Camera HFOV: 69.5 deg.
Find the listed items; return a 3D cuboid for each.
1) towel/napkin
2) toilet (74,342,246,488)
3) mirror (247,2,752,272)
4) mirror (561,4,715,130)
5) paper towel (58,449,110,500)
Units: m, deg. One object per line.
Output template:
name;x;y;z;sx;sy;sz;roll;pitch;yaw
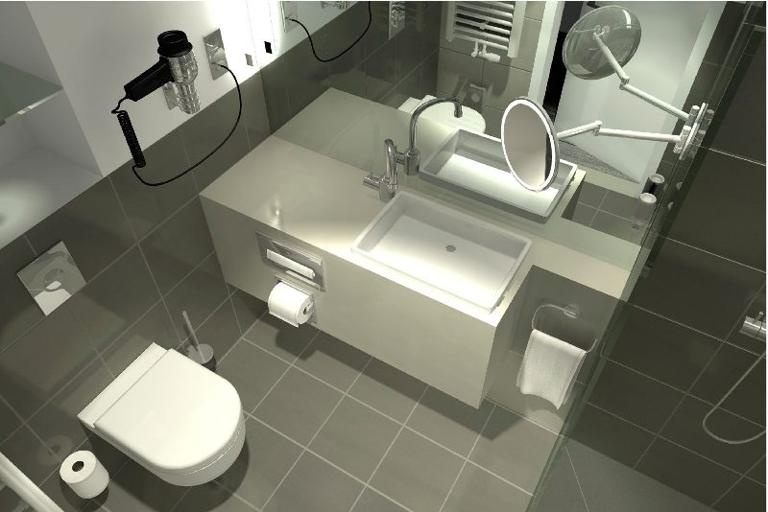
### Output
towel/napkin;0.843;0.539;2.760;0.340;0.515;0.109;22;47;19
toilet;-1.122;0.842;2.910;0.765;0.320;0.529;23;48;19
mirror;0.763;-0.656;2.395;1.230;0.952;0.482;22;46;19
mirror;0.961;-0.835;2.287;0.339;0.259;0.616;-37;58;-11
paper towel;-1.583;1.142;2.896;0.192;0.221;0.199;18;55;18
